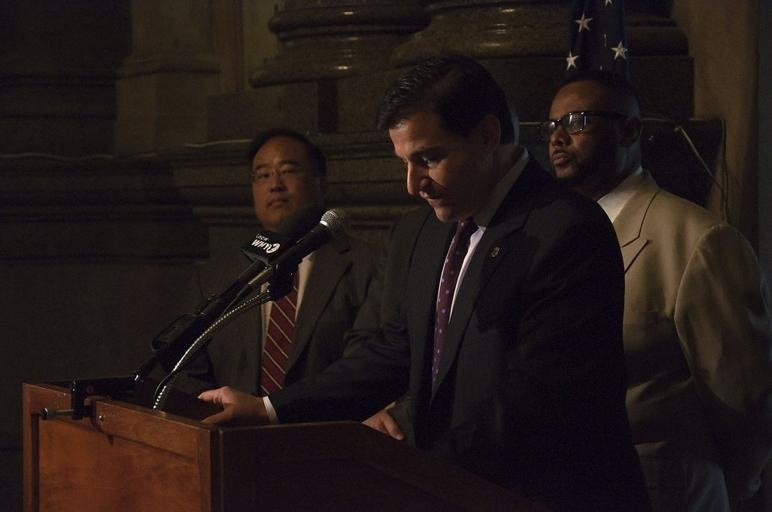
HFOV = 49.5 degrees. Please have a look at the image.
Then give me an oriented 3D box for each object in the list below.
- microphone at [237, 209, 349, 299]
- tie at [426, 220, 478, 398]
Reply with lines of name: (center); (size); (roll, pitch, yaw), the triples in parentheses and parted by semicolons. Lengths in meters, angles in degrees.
microphone: (-0.357, 0.005, 3.442); (0.524, 0.137, 0.154); (-33, 3, -27)
tie: (0.251, 0.109, 3.059); (0.103, 0.814, 0.108); (10, -27, 15)
